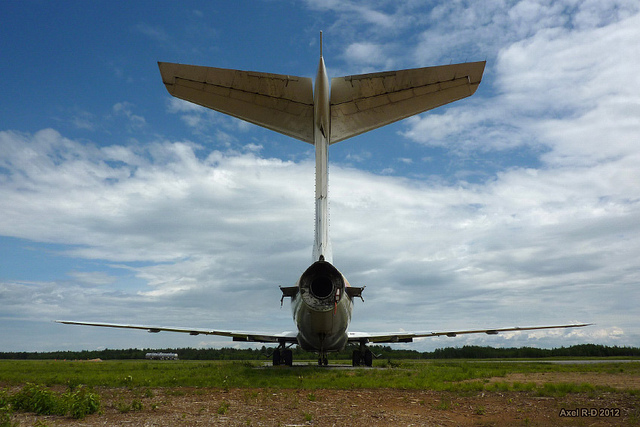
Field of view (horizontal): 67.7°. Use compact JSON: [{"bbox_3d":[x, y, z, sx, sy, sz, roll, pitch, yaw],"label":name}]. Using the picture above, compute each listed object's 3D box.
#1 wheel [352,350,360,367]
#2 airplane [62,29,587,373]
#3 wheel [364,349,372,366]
[{"bbox_3d":[2.585,10.086,33.267,0.421,1.016,1.023,0,-2,0],"label":"wheel"},{"bbox_3d":[0.208,-0.592,30.977,18.793,18.470,8.561,-1,-56,0],"label":"airplane"},{"bbox_3d":[3.367,10.068,33.263,0.360,0.869,0.881,-1,-15,-4],"label":"wheel"}]
